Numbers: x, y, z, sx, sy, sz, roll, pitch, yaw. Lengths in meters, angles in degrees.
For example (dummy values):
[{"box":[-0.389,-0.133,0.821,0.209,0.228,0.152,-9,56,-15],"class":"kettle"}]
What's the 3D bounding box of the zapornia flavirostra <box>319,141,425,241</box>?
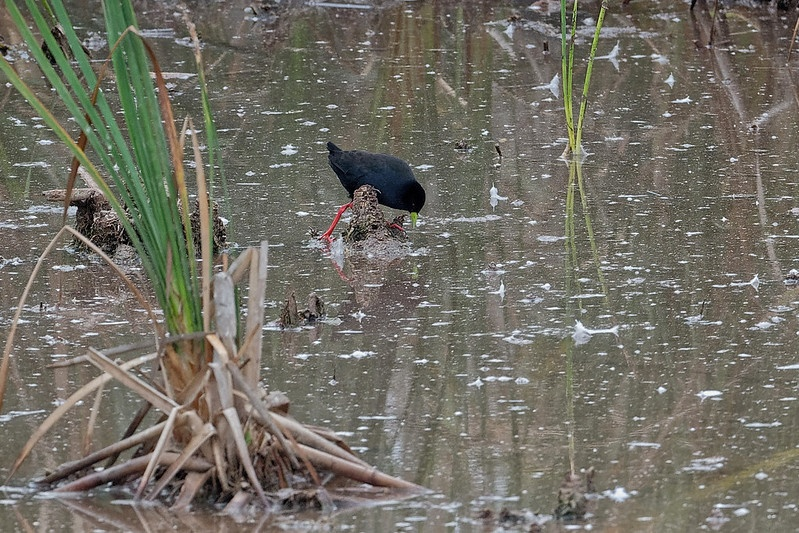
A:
[{"box":[-0.164,-0.528,6.834,0.763,0.501,0.531,38,96,16],"class":"zapornia flavirostra"}]
